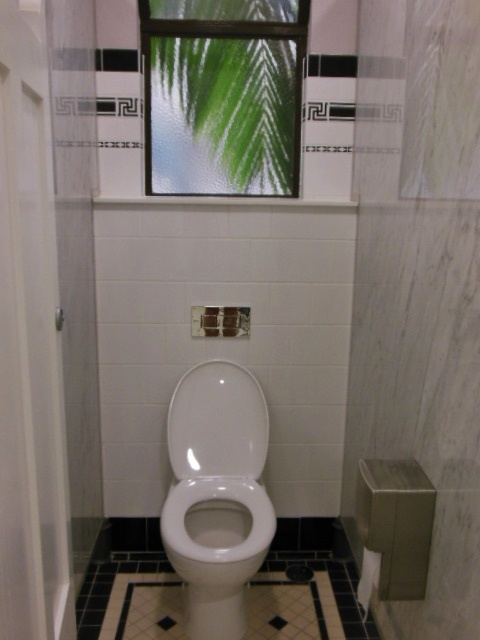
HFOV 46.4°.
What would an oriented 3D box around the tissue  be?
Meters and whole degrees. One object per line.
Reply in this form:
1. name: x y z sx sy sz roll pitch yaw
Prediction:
1. tissue : 0.309 0.472 1.165 0.145 0.341 0.169 0 8 -4
